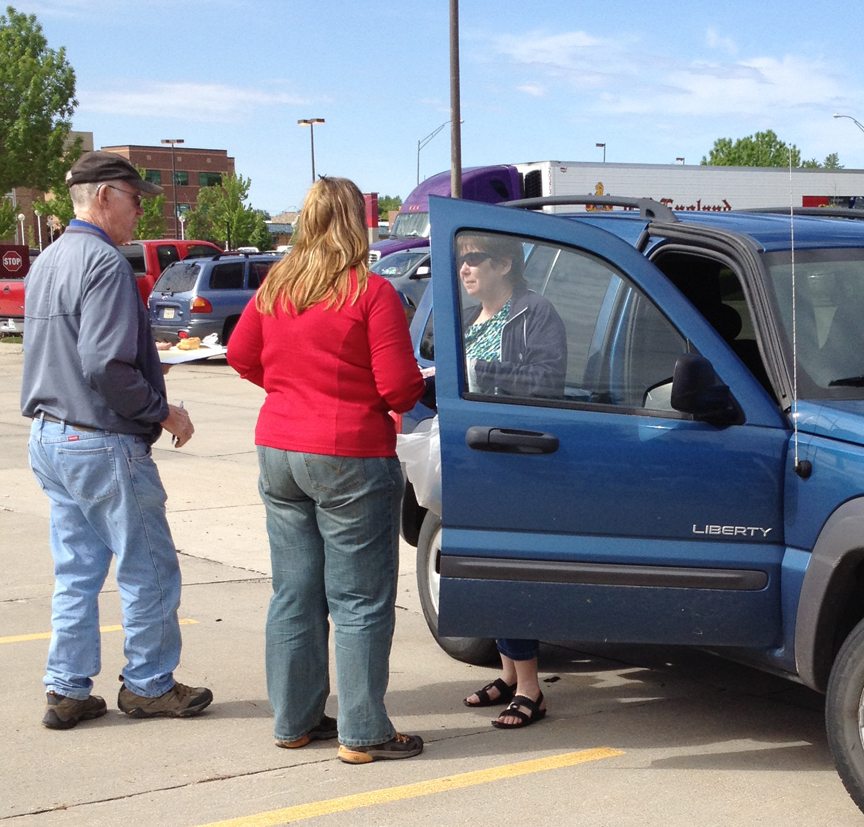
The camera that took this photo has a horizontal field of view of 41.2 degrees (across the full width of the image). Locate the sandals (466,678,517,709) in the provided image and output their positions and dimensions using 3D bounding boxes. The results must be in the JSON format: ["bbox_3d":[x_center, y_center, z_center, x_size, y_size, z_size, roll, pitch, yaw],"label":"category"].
[{"bbox_3d":[0.247,1.132,4.697,0.261,0.089,0.085,-1,5,-19],"label":"sandals"}]

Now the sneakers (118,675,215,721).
[{"bbox_3d":[-1.042,1.120,4.559,0.385,0.149,0.137,0,8,-9],"label":"sneakers"}]

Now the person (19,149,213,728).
[{"bbox_3d":[-1.246,0.104,4.353,0.593,2.169,0.511,5,9,29],"label":"person"}]

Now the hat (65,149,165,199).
[{"bbox_3d":[-1.200,-0.896,4.278,0.284,0.114,0.172,-2,9,-24],"label":"hat"}]

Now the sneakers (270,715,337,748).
[{"bbox_3d":[-0.470,1.170,4.292,0.091,0.095,0.251,6,11,42],"label":"sneakers"}]

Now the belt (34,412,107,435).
[{"bbox_3d":[-1.325,0.030,4.197,0.267,0.069,0.044,2,8,17],"label":"belt"}]

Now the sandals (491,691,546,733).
[{"bbox_3d":[0.342,1.150,4.447,0.090,0.087,0.246,-8,-10,43],"label":"sandals"}]

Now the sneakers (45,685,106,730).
[{"bbox_3d":[-1.382,1.119,4.450,0.102,0.111,0.273,5,8,33],"label":"sneakers"}]
